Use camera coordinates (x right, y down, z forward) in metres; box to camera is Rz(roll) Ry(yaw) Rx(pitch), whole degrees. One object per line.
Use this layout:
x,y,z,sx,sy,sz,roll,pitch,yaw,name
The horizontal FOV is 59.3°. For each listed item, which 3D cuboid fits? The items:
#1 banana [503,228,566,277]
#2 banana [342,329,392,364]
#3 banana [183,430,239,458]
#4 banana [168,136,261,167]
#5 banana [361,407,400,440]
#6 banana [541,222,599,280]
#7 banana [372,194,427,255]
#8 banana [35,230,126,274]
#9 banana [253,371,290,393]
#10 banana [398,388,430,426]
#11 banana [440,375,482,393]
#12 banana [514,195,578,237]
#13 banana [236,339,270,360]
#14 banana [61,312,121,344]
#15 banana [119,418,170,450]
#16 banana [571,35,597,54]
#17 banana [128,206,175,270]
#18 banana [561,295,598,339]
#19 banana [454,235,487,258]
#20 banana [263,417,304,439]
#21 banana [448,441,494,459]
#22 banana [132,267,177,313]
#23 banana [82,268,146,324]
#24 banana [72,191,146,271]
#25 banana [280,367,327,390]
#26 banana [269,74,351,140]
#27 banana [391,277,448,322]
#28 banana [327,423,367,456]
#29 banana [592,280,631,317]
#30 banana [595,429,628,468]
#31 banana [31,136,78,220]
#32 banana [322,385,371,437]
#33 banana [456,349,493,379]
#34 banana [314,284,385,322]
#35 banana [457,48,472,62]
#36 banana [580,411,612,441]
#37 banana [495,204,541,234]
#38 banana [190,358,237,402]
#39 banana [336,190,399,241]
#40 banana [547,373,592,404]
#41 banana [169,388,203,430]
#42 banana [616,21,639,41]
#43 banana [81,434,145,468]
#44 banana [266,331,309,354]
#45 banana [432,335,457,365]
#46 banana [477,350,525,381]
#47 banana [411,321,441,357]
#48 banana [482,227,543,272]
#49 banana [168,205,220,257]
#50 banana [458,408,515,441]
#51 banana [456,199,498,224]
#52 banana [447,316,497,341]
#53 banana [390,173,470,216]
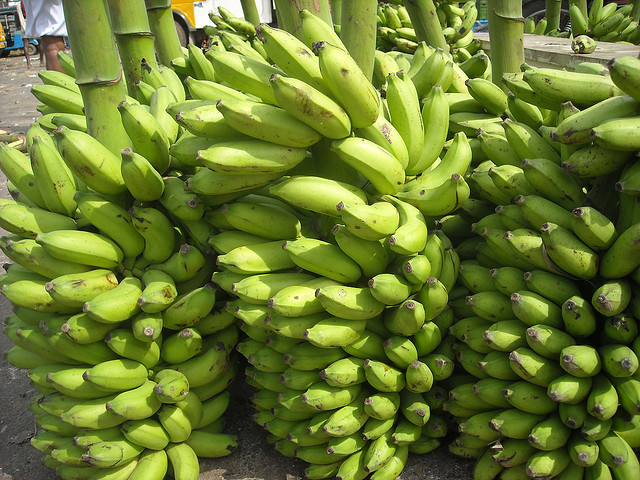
0.889,0.043,2.392,0.346,0.110,0.118,14,17,28,banana
0.209,0.479,2.499,0.219,0.122,0.074,32,25,-43,banana
-0.469,0.969,2.670,0.368,0.099,0.121,2,4,-2,banana
-0.567,-0.428,2.579,0.280,0.072,0.166,-20,-14,-37,banana
0.260,0.816,2.496,0.069,0.062,0.208,35,82,38,banana
1.018,0.034,2.350,0.147,0.282,0.099,-43,7,8,banana
0.338,-0.028,2.402,0.196,0.101,0.351,-2,33,-5,banana
-1.023,0.057,2.598,0.496,0.147,0.164,18,-22,-42,banana
-0.220,0.649,2.592,0.191,0.052,0.067,23,-8,-5,banana
0.421,0.738,2.489,0.065,0.088,0.183,-48,15,-9,banana
0.639,0.647,2.527,0.173,0.058,0.047,-13,47,-3,banana
0.967,-0.108,2.371,0.203,0.059,0.072,37,-3,3,banana
-0.327,0.519,2.651,0.203,0.055,0.070,-10,26,29,banana
-1.013,0.387,2.478,0.222,0.062,0.088,7,19,12,banana
-0.784,0.872,2.552,0.205,0.119,0.124,31,56,-11,banana
2.531,-1.867,5.330,0.228,0.169,0.227,0,29,7,banana
-0.769,-0.041,2.642,0.194,0.094,0.344,0,-22,-8,banana
1.054,0.321,2.268,0.117,0.192,0.074,-8,51,19,banana
0.739,0.030,2.752,0.178,0.091,0.043,3,30,-21,banana
-0.183,0.873,2.618,0.242,0.068,0.087,-9,3,23,banana
0.659,0.966,2.543,0.241,0.066,0.082,-14,41,24,banana
-0.736,0.223,2.513,0.168,0.058,0.178,-11,8,31,banana
-0.925,0.277,2.487,0.167,0.182,0.314,1,9,31,banana
-0.975,-0.018,2.491,0.226,0.128,0.462,-8,61,-15,banana
-0.087,0.613,2.507,0.284,0.104,0.076,1,-4,-13,banana
-0.035,-0.517,2.347,0.431,0.141,0.136,20,-3,-29,banana
0.459,0.254,2.501,0.216,0.170,0.112,-19,12,39,banana
0.120,0.876,2.511,0.081,0.071,0.234,-15,-2,32,banana
1.176,0.233,2.251,0.197,0.130,0.098,-27,36,-36,banana
1.184,0.850,2.272,0.107,0.067,0.204,-4,2,6,banana
-1.209,-0.283,2.627,0.131,0.417,0.149,4,32,22,banana
0.142,0.762,2.533,0.089,0.115,0.331,26,41,28,banana
0.721,0.519,2.548,0.131,0.064,0.240,-20,7,29,banana
0.133,0.263,2.396,0.292,0.174,0.081,-9,29,-10,banana
1.059,-1.398,4.203,0.059,0.098,0.169,-11,0,37,banana
1.090,0.738,2.214,0.079,0.046,0.143,30,71,8,banana
0.857,-0.101,2.438,0.093,0.072,0.263,-7,1,0,banana
-0.524,0.665,2.693,0.062,0.098,0.284,16,58,36,banana
0.223,-0.077,2.401,0.310,0.192,0.205,-4,-4,-44,banana
1.007,0.566,2.247,0.197,0.067,0.091,-11,37,34,banana
-0.632,0.790,2.651,0.125,0.161,0.060,-32,14,-37,banana
3.712,-2.546,6.763,0.070,0.258,0.092,34,7,-29,banana
-0.914,0.939,2.530,0.110,0.093,0.310,16,15,42,banana
-0.170,0.459,2.571,0.283,0.076,0.102,0,7,5,banana
0.588,0.501,2.590,0.122,0.034,0.122,-46,38,2,banana
0.856,0.547,2.432,0.322,0.112,0.132,-1,-5,-7,banana
0.478,0.438,2.549,0.101,0.162,0.125,48,17,12,banana
0.816,0.034,2.518,0.098,0.121,0.341,38,0,-36,banana
-0.590,-0.048,2.622,0.247,0.086,0.062,44,47,3,banana
0.743,0.800,2.471,0.331,0.089,0.108,-9,-13,-27,banana
0.773,-0.143,2.715,0.202,0.109,0.066,-2,2,-1,banana
0.661,0.389,2.483,0.193,0.099,0.064,-13,11,1,banana
0.469,-0.194,2.587,0.119,0.190,0.447,-14,9,-30,banana
